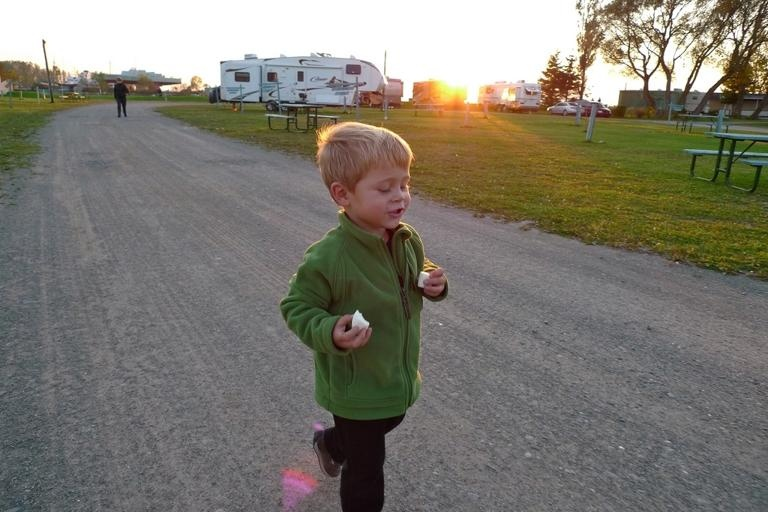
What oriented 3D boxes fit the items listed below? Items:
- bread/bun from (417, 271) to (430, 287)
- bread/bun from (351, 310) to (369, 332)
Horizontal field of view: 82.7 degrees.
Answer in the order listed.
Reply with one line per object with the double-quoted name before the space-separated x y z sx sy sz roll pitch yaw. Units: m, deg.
"bread/bun" 0.173 0.101 1.982 0.062 0.059 0.062 4 16 -7
"bread/bun" -0.087 0.251 1.722 0.072 0.065 0.056 31 8 11
